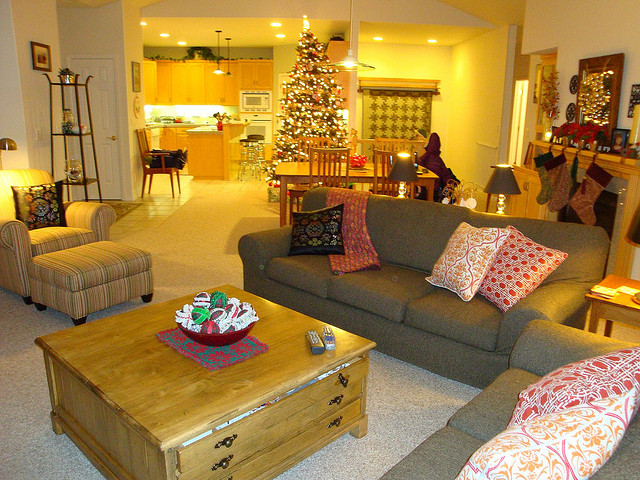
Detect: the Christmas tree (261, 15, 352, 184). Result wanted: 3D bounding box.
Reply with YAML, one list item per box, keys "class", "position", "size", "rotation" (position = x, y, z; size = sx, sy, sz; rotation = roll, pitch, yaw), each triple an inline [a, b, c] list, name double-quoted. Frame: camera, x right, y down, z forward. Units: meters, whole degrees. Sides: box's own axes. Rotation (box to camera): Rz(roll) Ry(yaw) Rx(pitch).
- class: "Christmas tree"
  position: [-0.167, -2.437, 7.942]
  size: [1.324, 2.518, 0.882]
  rotation: [0, 18, 1]

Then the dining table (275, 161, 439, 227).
- class: "dining table"
  position: [0.397, -0.501, 4.922]
  size: [1.136, 0.488, 0.513]
  rotation: [1, 29, -2]

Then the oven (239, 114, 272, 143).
- class: "oven"
  position: [-1.888, -2.931, 12.480]
  size: [1.063, 0.918, 0.717]
  rotation: [-12, 21, -42]

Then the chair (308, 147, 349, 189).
- class: "chair"
  position: [0.115, -0.932, 5.953]
  size: [0.483, 0.492, 1.080]
  rotation: [0, 15, 3]

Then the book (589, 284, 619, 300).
- class: "book"
  position: [1.789, 0.324, 2.987]
  size: [0.109, 0.022, 0.104]
  rotation: [8, 13, 43]

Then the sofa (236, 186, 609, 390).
- class: "sofa"
  position: [0.642, 0.274, 3.760]
  size: [2.693, 0.965, 0.939]
  rotation: [14, 28, 42]

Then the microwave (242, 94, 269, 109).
- class: "microwave"
  position: [-1.668, -3.578, 12.160]
  size: [0.711, 0.390, 0.340]
  rotation: [2, 9, 1]

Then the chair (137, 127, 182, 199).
- class: "chair"
  position: [-3.016, -1.442, 8.722]
  size: [0.717, 1.231, 1.041]
  rotation: [-5, 17, -15]
